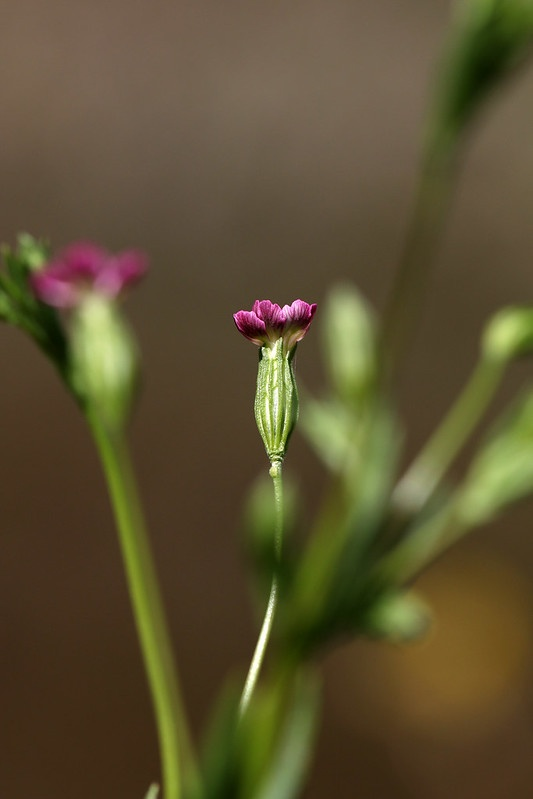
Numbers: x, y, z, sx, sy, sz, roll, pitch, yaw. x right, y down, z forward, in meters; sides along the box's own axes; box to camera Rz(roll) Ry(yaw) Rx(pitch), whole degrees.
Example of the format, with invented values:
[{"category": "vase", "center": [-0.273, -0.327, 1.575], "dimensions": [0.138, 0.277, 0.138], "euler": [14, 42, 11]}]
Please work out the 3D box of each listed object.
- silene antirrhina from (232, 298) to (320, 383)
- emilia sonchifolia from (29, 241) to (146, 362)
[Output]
[{"category": "silene antirrhina", "center": [0.016, -0.047, 0.607], "dimensions": [0.049, 0.050, 0.031], "euler": [16, 66, -34]}, {"category": "emilia sonchifolia", "center": [-0.148, -0.104, 0.687], "dimensions": [0.045, 0.037, 0.100], "euler": [38, 56, 25]}]
